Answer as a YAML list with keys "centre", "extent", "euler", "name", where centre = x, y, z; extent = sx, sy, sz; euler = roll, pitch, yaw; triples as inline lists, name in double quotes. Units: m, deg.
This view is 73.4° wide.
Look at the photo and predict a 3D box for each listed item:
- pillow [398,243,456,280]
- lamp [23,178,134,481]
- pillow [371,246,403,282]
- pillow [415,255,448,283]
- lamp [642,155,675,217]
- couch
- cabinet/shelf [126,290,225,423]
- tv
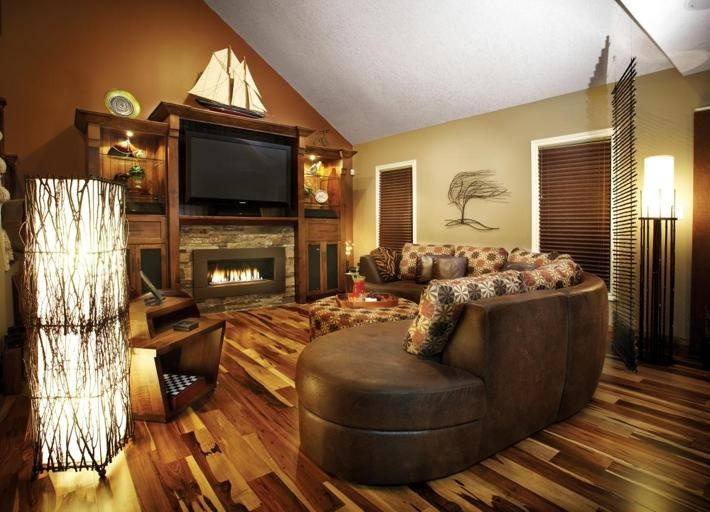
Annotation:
- centre: [0.926, -0.016, 6.527]
  extent: [0.554, 0.223, 0.544]
  euler: [-19, 12, -22]
  name: "pillow"
- centre: [-1.734, 0.466, 3.297]
  extent: [0.614, 1.978, 0.545]
  euler: [-1, 0, 2]
  name: "lamp"
- centre: [0.430, 0.090, 6.488]
  extent: [0.432, 0.435, 0.128]
  euler: [7, -23, -32]
  name: "pillow"
- centre: [0.941, 0.170, 6.181]
  extent: [0.329, 0.346, 0.147]
  euler: [2, -5, 27]
  name: "pillow"
- centre: [2.835, -0.640, 4.428]
  extent: [0.225, 0.571, 0.152]
  euler: [-1, 3, 26]
  name: "lamp"
- centre: [0.684, 0.854, 3.336]
  extent: [2.146, 1.162, 0.599]
  euler: [-3, 3, -16]
  name: "couch"
- centre: [-1.480, 0.779, 3.792]
  extent: [0.524, 0.883, 0.761]
  euler: [0, 3, 29]
  name: "cabinet/shelf"
- centre: [-1.605, -1.117, 6.333]
  extent: [1.241, 0.893, 0.134]
  euler: [-1, 8, -38]
  name: "tv"
